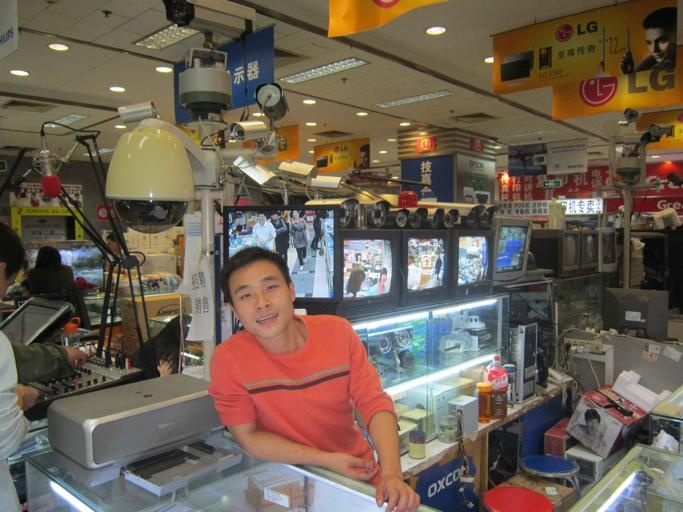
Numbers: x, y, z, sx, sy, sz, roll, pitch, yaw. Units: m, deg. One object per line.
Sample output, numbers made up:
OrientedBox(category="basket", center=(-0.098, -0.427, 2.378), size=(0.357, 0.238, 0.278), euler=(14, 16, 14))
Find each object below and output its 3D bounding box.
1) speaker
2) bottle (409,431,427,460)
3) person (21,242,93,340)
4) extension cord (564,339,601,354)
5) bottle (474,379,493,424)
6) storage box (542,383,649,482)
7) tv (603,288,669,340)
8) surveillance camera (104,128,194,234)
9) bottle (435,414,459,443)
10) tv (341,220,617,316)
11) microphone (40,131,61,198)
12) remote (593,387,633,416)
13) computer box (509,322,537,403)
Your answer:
OrientedBox(category="speaker", center=(-0.834, 0.674, 2.082), size=(0.419, 0.227, 0.608), euler=(2, 1, 36))
OrientedBox(category="bottle", center=(0.454, 1.185, 3.197), size=(0.127, 0.131, 0.124), euler=(1, -3, -31))
OrientedBox(category="person", center=(-2.603, 0.294, 4.655), size=(0.525, 0.861, 0.497), euler=(9, 9, 42))
OrientedBox(category="extension cord", center=(2.256, 0.836, 4.703), size=(0.129, 0.065, 0.167), euler=(-1, 1, -30))
OrientedBox(category="bottle", center=(1.054, 1.074, 3.760), size=(0.108, 0.254, 0.208), euler=(0, 8, 22))
OrientedBox(category="storage box", center=(2.103, 1.379, 4.414), size=(0.864, 0.718, 0.706), euler=(-1, 0, -40))
OrientedBox(category="tv", center=(3.133, 0.643, 5.415), size=(0.596, 0.595, 0.209), euler=(3, 6, 39))
OrientedBox(category="surveillance camera", center=(-0.832, -0.322, 2.203), size=(0.284, 0.450, 0.306), euler=(-7, 9, -42))
OrientedBox(category="bottle", center=(0.722, 1.159, 3.432), size=(0.147, 0.157, 0.146), euler=(1, 0, -3))
OrientedBox(category="tv", center=(1.048, 0.083, 3.514), size=(1.000, 0.736, 2.679), euler=(2, 3, 37))
OrientedBox(category="microphone", center=(-1.886, -0.576, 3.242), size=(0.108, 0.417, 0.117), euler=(10, 16, 42))
OrientedBox(category="remote", center=(2.181, 1.150, 4.120), size=(0.153, 0.066, 0.247), euler=(-6, 17, -14))
OrientedBox(category="computer box", center=(1.482, 0.846, 4.088), size=(0.218, 0.577, 0.214), euler=(7, 8, 29))
